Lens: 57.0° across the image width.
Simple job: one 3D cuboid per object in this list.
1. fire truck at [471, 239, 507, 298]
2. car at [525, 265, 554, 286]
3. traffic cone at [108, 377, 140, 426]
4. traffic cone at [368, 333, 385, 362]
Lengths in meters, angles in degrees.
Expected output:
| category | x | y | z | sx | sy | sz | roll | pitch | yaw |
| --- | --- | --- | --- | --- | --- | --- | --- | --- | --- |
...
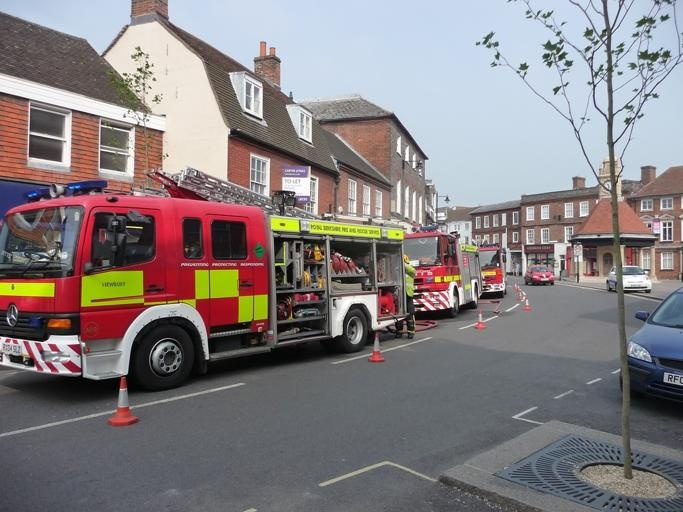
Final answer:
| category | x | y | z | sx | sy | sz | roll | pitch | yaw |
| --- | --- | --- | --- | --- | --- | --- | --- | --- | --- |
| fire truck | 7.614 | 0.897 | 32.688 | 1.362 | 2.139 | 3.810 | -3 | -8 | 15 |
| car | 14.722 | 1.411 | 47.258 | 1.140 | 1.090 | 2.440 | -1 | -8 | 4 |
| traffic cone | -3.160 | 2.074 | 9.123 | 0.463 | 0.653 | 0.481 | 0 | -2 | -14 |
| traffic cone | 0.812 | 1.988 | 13.291 | 0.373 | 0.498 | 0.414 | 2 | -5 | -14 |
